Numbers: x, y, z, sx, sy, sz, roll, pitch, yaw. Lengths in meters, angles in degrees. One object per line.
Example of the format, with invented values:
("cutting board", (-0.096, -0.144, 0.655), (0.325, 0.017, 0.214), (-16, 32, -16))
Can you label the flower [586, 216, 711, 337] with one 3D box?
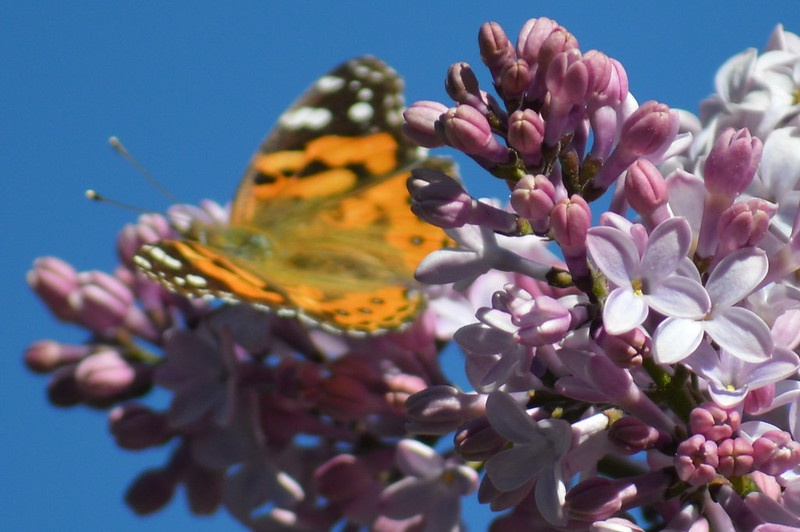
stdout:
("flower", (0.481, 0.022, 2.973), (0.269, 0.099, 0.274), (9, -30, 36))
